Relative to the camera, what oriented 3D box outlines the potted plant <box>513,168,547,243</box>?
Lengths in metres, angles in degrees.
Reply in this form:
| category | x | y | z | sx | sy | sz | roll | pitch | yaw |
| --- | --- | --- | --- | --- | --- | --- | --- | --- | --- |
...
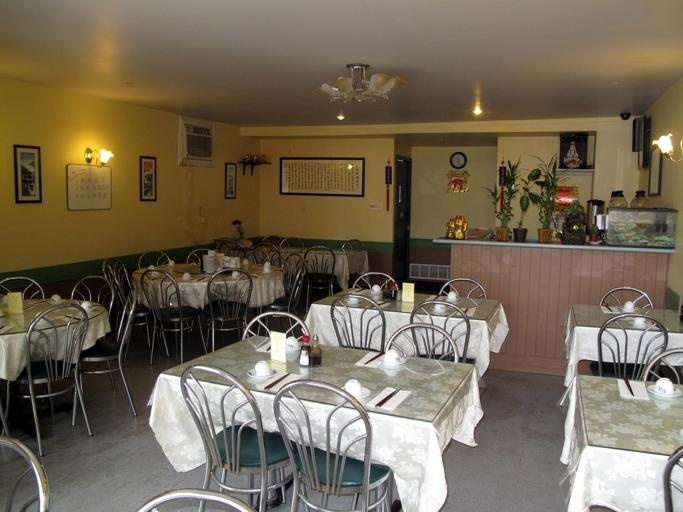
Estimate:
| category | x | y | z | sx | sy | sz | roll | pitch | yaw |
| --- | --- | --- | --- | --- | --- | --- | --- | --- | --- |
| potted plant | 1.893 | -0.542 | 4.896 | 0.296 | 0.846 | 0.312 | 5 | 5 | 9 |

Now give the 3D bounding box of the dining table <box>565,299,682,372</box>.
| category | x | y | z | sx | sy | sz | roll | pitch | yaw |
| --- | --- | --- | --- | --- | --- | --- | --- | --- | --- |
| dining table | 2.267 | 0.682 | 3.923 | 0.803 | 0.533 | 0.926 | 7 | 3 | 14 |

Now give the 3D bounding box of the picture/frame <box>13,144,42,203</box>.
| category | x | y | z | sx | sy | sz | roll | pitch | yaw |
| --- | --- | --- | --- | --- | --- | --- | --- | --- | --- |
| picture/frame | -3.355 | -0.873 | 5.136 | 0.056 | 0.602 | 0.278 | 1 | 6 | 22 |

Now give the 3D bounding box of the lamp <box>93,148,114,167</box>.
| category | x | y | z | sx | sy | sz | roll | pitch | yaw |
| --- | --- | --- | --- | --- | --- | --- | --- | --- | --- |
| lamp | -2.923 | -1.192 | 5.895 | 0.177 | 0.183 | 0.184 | 3 | -3 | -15 |

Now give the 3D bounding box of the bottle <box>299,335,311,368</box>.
| category | x | y | z | sx | sy | sz | roll | pitch | yaw |
| --- | --- | --- | --- | --- | --- | --- | --- | --- | --- |
| bottle | -0.214 | 0.552 | 2.817 | 0.068 | 0.156 | 0.136 | -2 | 5 | -5 |

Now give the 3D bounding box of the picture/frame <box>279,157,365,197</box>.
| category | x | y | z | sx | sy | sz | roll | pitch | yaw |
| --- | --- | --- | --- | --- | --- | --- | --- | --- | --- |
| picture/frame | -0.346 | -1.402 | 8.492 | 1.494 | 0.784 | 0.051 | 0 | -20 | -3 |

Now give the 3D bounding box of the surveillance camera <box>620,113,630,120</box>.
| category | x | y | z | sx | sy | sz | roll | pitch | yaw |
| --- | --- | --- | --- | --- | --- | --- | --- | --- | --- |
| surveillance camera | 3.686 | -1.825 | 6.239 | 0.084 | 0.061 | 0.089 | 1 | 3 | 11 |

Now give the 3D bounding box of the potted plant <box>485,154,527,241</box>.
| category | x | y | z | sx | sy | sz | roll | pitch | yaw |
| --- | --- | --- | --- | --- | --- | --- | --- | --- | --- |
| potted plant | 2.279 | -0.847 | 6.614 | 0.420 | 1.699 | 0.262 | 0 | 8 | 4 |

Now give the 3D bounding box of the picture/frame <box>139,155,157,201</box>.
| category | x | y | z | sx | sy | sz | roll | pitch | yaw |
| --- | --- | --- | --- | --- | --- | --- | --- | --- | --- |
| picture/frame | -2.627 | -1.050 | 6.528 | 0.055 | 0.608 | 0.283 | 1 | 6 | 21 |

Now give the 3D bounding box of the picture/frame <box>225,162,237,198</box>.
| category | x | y | z | sx | sy | sz | roll | pitch | yaw |
| --- | --- | --- | --- | --- | --- | --- | --- | --- | --- |
| picture/frame | -1.860 | -1.264 | 8.055 | 0.059 | 0.601 | 0.359 | 1 | 5 | 16 |

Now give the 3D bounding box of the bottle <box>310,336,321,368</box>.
| category | x | y | z | sx | sy | sz | roll | pitch | yaw |
| --- | --- | --- | --- | --- | --- | --- | --- | --- | --- |
| bottle | -0.152 | 0.553 | 2.843 | 0.065 | 0.160 | 0.152 | -1 | 5 | -2 |

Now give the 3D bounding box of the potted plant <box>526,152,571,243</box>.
| category | x | y | z | sx | sy | sz | roll | pitch | yaw |
| --- | --- | --- | --- | --- | --- | --- | --- | --- | --- |
| potted plant | 2.058 | -0.562 | 4.872 | 0.328 | 0.837 | 0.295 | 7 | -3 | -12 |
